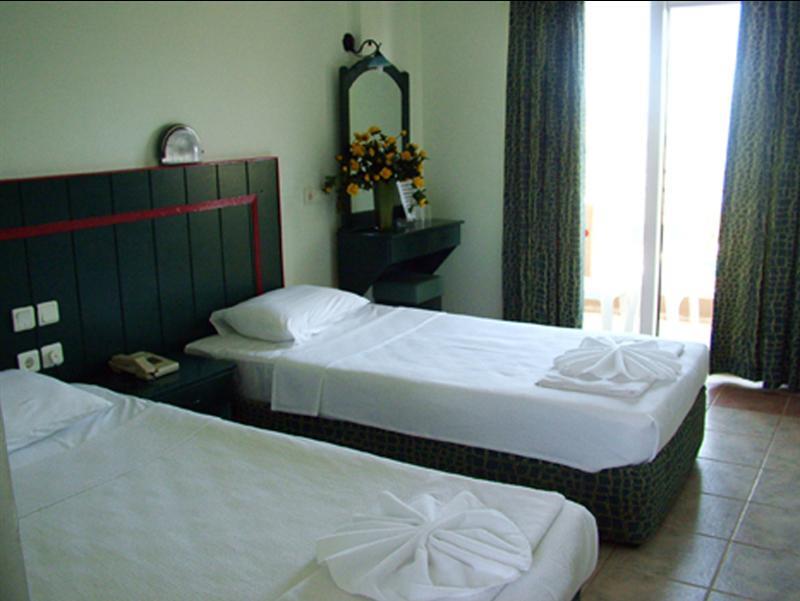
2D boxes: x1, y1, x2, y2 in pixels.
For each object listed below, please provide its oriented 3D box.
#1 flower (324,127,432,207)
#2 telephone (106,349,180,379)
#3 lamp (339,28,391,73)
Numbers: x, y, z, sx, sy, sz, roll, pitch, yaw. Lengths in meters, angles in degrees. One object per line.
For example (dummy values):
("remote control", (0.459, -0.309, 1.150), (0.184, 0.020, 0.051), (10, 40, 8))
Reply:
("flower", (-0.081, -0.975, 4.553), (0.447, 0.470, 0.517), (10, 5, 23))
("telephone", (-1.250, 0.302, 3.115), (0.309, 0.102, 0.182), (2, 11, 25))
("lamp", (-0.263, -1.758, 4.495), (0.352, 0.321, 0.235), (6, 19, 29))
